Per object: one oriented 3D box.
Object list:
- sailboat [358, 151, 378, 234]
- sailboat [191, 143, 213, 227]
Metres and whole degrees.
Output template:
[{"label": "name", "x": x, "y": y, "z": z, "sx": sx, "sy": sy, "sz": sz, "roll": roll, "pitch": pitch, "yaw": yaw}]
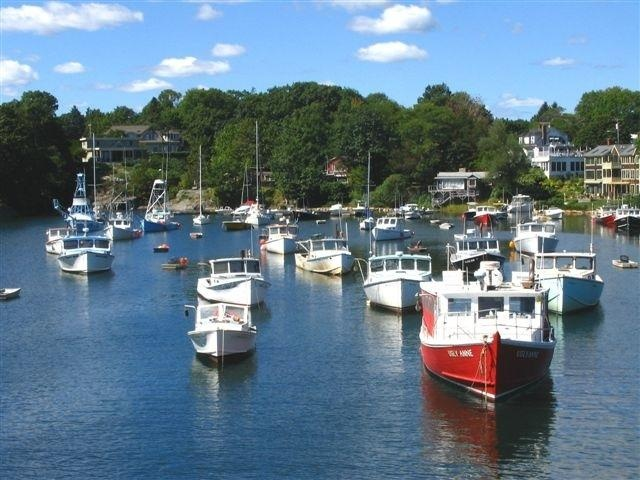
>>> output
[{"label": "sailboat", "x": 6.751, "y": -6.577, "z": 134.710, "sx": 1.797, "sy": 10.035, "sz": 9.258, "roll": 3, "pitch": 2, "yaw": 5}, {"label": "sailboat", "x": -20.920, "y": -9.319, "z": 169.499, "sx": 3.057, "sy": 17.988, "sz": 2.722, "roll": -5, "pitch": 8, "yaw": -8}]
